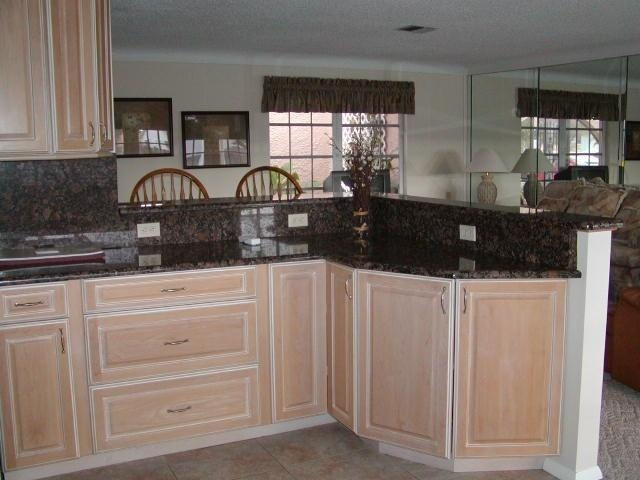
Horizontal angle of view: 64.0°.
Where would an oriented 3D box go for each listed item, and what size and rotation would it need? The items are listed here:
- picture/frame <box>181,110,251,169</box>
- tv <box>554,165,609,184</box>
[{"bbox_3d":[-1.425,-1.353,6.826,0.752,0.638,0.035,-3,7,-17],"label":"picture/frame"},{"bbox_3d":[3.492,-0.891,6.879,0.109,0.235,0.772,-7,15,-28],"label":"tv"}]
